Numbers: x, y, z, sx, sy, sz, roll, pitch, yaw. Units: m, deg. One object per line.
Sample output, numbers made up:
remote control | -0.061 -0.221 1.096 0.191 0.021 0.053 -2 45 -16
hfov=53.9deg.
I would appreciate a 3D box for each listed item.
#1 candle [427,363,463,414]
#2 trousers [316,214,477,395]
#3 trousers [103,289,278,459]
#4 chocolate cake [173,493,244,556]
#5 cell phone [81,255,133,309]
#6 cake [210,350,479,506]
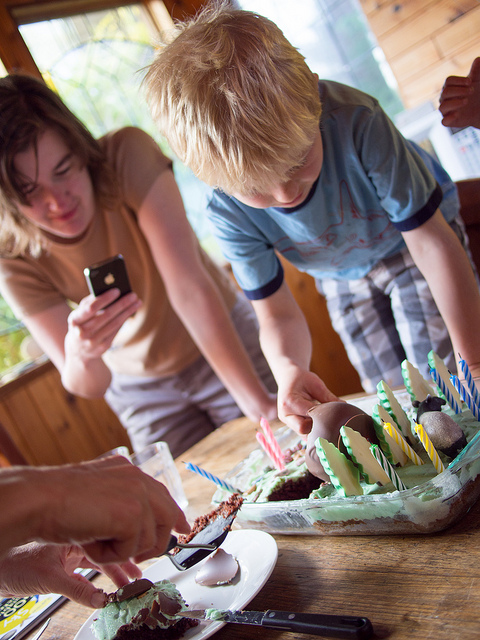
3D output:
candle | 0.363 0.099 0.829 0.013 0.135 0.014 -35 44 36
trousers | 0.494 0.006 1.458 0.239 0.502 0.557 -35 8 -20
trousers | -0.151 0.202 1.683 0.631 0.594 0.275 -33 8 -13
chocolate cake | -0.052 0.333 0.792 0.144 0.034 0.076 -29 7 5
cell phone | -0.331 -0.074 1.187 0.018 0.181 0.109 26 44 28
cake | 0.122 0.194 0.854 0.520 0.090 0.305 -20 2 40
